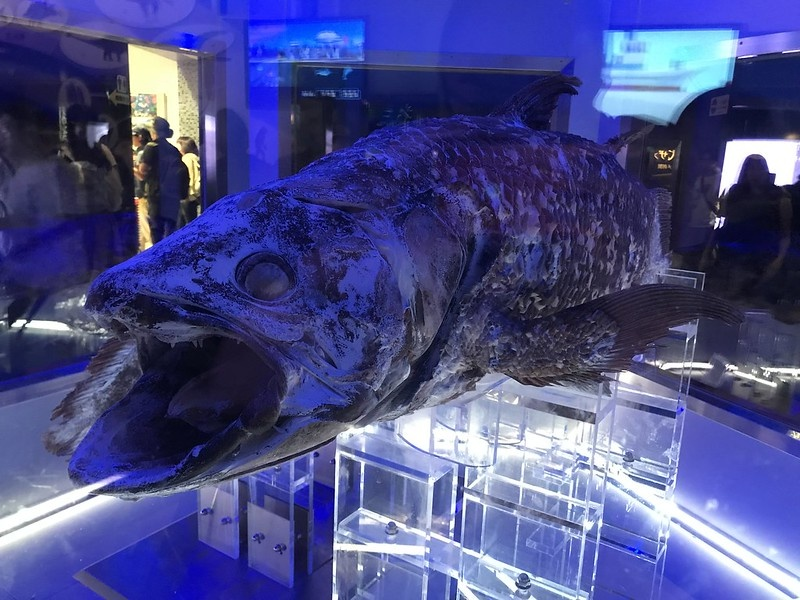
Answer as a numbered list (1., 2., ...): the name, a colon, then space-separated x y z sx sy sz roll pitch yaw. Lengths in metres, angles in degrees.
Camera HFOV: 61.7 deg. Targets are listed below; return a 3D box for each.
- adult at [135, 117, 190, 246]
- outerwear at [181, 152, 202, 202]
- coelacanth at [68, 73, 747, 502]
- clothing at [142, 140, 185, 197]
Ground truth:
1. adult: -1.352 -0.612 3.840 0.272 0.833 0.256 -8 14 -42
2. outerwear: -1.118 -0.672 3.642 0.073 0.202 0.147 -12 17 -28
3. coelacanth: 0.059 0.056 1.892 1.707 0.615 0.912 -24 22 -26
4. clothing: -1.302 -0.730 3.703 0.331 0.341 0.240 0 15 -17
